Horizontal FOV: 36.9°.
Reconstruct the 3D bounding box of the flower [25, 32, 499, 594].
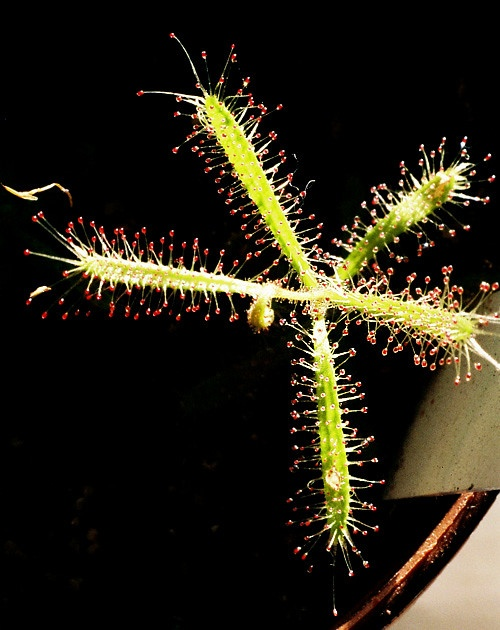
[{"bbox_3d":[0.053,-0.048,1.312,0.805,0.729,0.594,19,-49,-17],"label":"flower"}]
